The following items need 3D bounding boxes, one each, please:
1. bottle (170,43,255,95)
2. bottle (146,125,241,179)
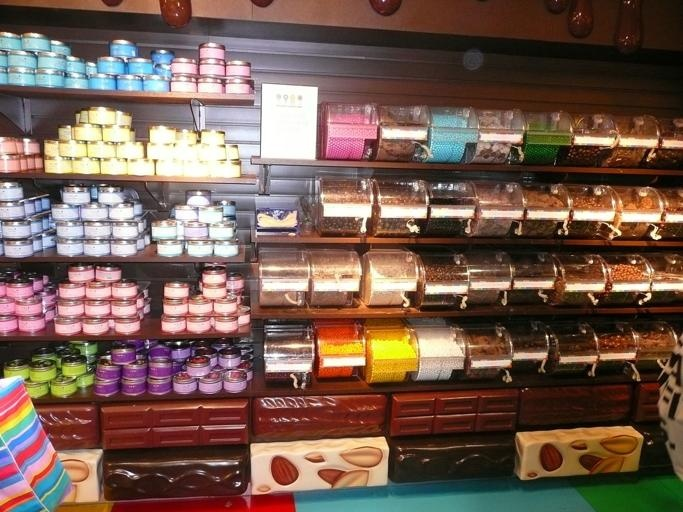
[{"bbox_3d":[-0.791,-1.113,3.440,0.530,0.194,0.409,-1,9,-11],"label":"bottle"},{"bbox_3d":[-0.922,-0.645,3.531,0.546,0.267,0.097,-5,3,-3],"label":"bottle"}]
